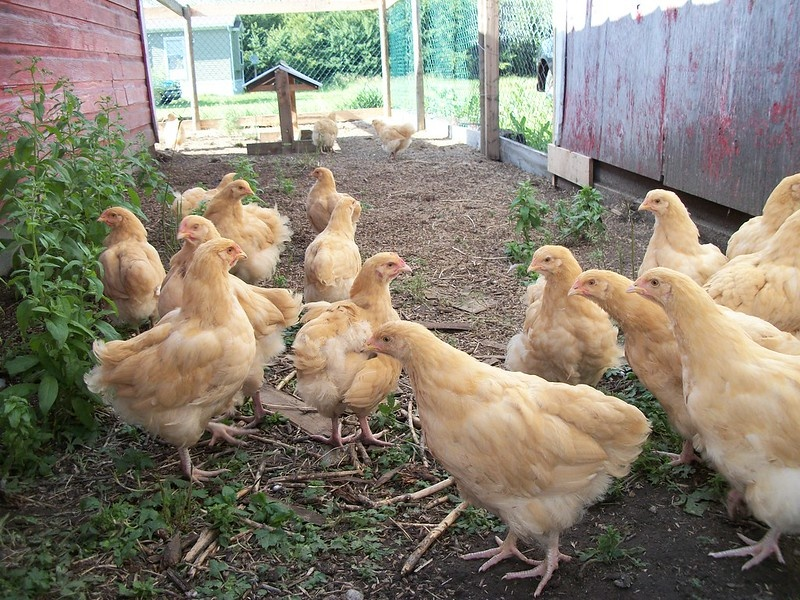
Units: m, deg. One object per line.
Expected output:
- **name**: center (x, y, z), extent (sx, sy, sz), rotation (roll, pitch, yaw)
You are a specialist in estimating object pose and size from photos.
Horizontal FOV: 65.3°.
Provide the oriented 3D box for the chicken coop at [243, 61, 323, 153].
- **chicken coop**: center (-2.551, -4.323, 13.890), extent (1.669, 1.834, 1.958), rotation (-7, 23, -12)
